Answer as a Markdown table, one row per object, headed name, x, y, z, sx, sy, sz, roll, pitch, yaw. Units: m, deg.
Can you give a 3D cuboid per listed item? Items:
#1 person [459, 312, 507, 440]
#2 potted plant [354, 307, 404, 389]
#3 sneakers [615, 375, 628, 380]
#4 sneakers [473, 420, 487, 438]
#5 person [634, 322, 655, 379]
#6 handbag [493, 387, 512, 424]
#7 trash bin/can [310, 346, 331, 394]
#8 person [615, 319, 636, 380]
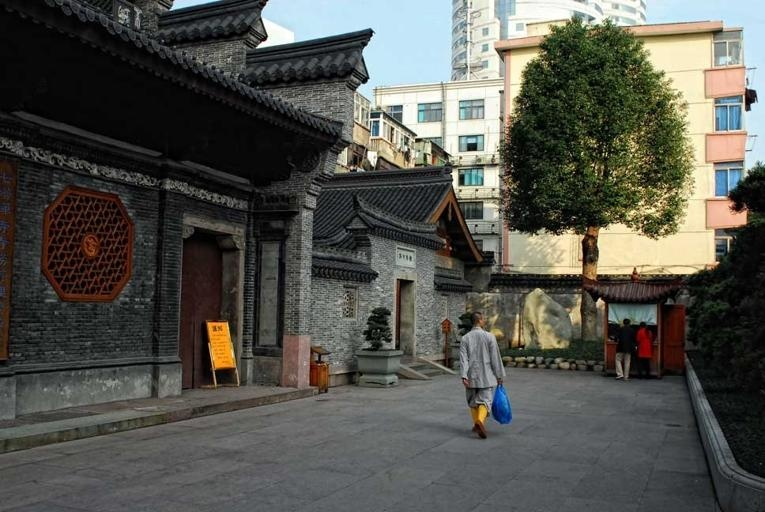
| name | x | y | z | sx | sy | sz | roll | pitch | yaw |
| --- | --- | --- | --- | --- | --- | --- | --- | --- | --- |
| person | 1.727 | 2.083 | 11.956 | 0.745 | 2.123 | 0.697 | 2 | 0 | 6 |
| potted plant | -0.104 | 2.413 | 17.920 | 1.178 | 2.106 | 0.757 | 2 | 0 | -2 |
| sneakers | 7.426 | 3.789 | 21.013 | 0.386 | 0.152 | 0.134 | -5 | -6 | 28 |
| sneakers | 1.694 | 3.005 | 11.803 | 0.238 | 0.285 | 0.401 | 2 | -1 | 8 |
| person | 8.131 | 3.023 | 21.025 | 0.605 | 1.554 | 0.492 | 2 | 0 | 7 |
| handbag | 2.040 | 2.558 | 11.716 | 0.324 | 0.659 | 0.207 | 2 | 0 | 9 |
| trash bin/can | -1.556 | 2.746 | 16.279 | 0.363 | 1.101 | 0.650 | 2 | 0 | 21 |
| person | 7.549 | 2.878 | 21.066 | 0.589 | 1.780 | 1.008 | 2 | 0 | 20 |
